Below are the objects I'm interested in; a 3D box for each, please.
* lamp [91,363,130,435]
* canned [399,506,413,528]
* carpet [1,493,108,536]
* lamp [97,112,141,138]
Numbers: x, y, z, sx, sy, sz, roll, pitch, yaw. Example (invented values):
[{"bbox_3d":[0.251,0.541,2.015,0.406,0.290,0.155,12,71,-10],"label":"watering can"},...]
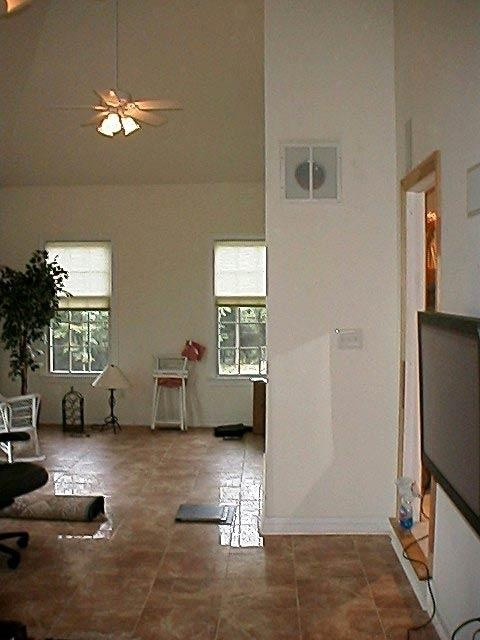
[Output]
[{"bbox_3d":[-1.434,0.876,6.436,0.361,0.751,0.352,11,8,34],"label":"lamp"},{"bbox_3d":[0.941,1.107,3.211,0.070,0.132,0.056,0,2,12],"label":"canned"},{"bbox_3d":[-1.212,1.254,3.797,0.413,0.151,0.296,1,1,7],"label":"carpet"},{"bbox_3d":[-0.840,-1.341,3.927,0.242,0.140,0.221,-3,3,-44],"label":"lamp"}]
